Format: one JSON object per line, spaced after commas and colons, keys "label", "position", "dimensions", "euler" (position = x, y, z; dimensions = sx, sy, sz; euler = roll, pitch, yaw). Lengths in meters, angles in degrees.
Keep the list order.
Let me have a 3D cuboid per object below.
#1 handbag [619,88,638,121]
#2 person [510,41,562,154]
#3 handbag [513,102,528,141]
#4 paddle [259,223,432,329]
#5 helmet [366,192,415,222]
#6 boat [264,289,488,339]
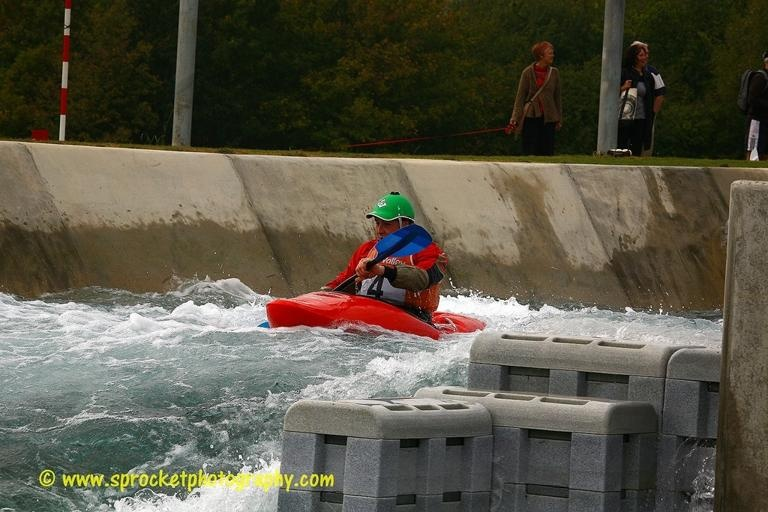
{"label": "handbag", "position": [3.199, -1.990, 17.370], "dimensions": [0.240, 0.389, 0.181], "euler": [-1, -4, 15]}
{"label": "person", "position": [1.963, -2.064, 17.337], "dimensions": [0.675, 1.481, 0.623], "euler": [-1, -3, 6]}
{"label": "handbag", "position": [1.742, -1.771, 17.263], "dimensions": [0.132, 0.499, 0.134], "euler": [21, -26, 18]}
{"label": "paddle", "position": [-0.443, 0.244, 14.189], "dimensions": [1.825, 0.293, 0.114], "euler": [-34, 17, -10]}
{"label": "helmet", "position": [0.068, -0.493, 13.800], "dimensions": [0.459, 0.250, 0.320], "euler": [5, -1, -10]}
{"label": "boat", "position": [-0.135, 0.602, 13.446], "dimensions": [1.599, 0.302, 0.795], "euler": [6, 4, -23]}
